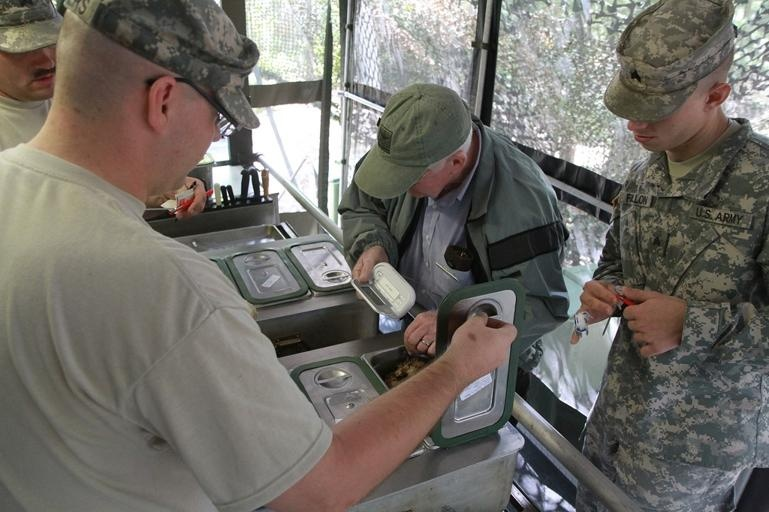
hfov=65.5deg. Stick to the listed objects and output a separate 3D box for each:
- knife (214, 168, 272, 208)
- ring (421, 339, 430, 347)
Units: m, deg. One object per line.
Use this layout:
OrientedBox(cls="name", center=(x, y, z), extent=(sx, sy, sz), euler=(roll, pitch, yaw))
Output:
OrientedBox(cls="knife", center=(-0.868, -0.420, 3.663), extent=(0.352, 0.377, 0.107), euler=(3, 12, -14))
OrientedBox(cls="ring", center=(0.148, 0.330, 2.280), extent=(0.022, 0.005, 0.023), euler=(-2, 61, 5))
